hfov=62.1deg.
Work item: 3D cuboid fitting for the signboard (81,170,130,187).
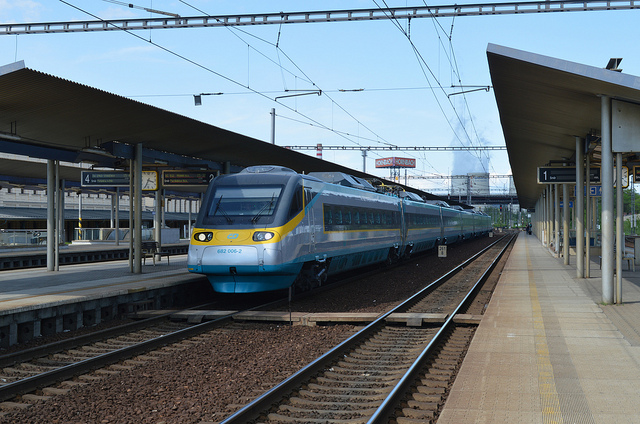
[{"bbox_3d":[-7.777,-1.266,19.335,1.577,0.623,1.010,-2,-2,43],"label":"signboard"}]

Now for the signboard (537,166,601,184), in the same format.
[{"bbox_3d":[8.918,-1.354,19.007,2.381,0.678,1.255,0,-1,-27],"label":"signboard"}]

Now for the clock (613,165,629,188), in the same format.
[{"bbox_3d":[8.413,-0.980,14.952,0.032,0.713,1.160,7,18,42],"label":"clock"}]

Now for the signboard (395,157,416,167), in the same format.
[{"bbox_3d":[22.527,-13.093,140.145,3.019,2.966,14.560,-1,-1,18],"label":"signboard"}]

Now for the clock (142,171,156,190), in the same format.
[{"bbox_3d":[-6.042,-1.138,18.870,0.662,0.573,0.141,1,-3,4],"label":"clock"}]

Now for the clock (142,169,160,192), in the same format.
[{"bbox_3d":[-6.025,-1.143,19.014,0.565,0.765,0.522,-1,-1,-11],"label":"clock"}]
